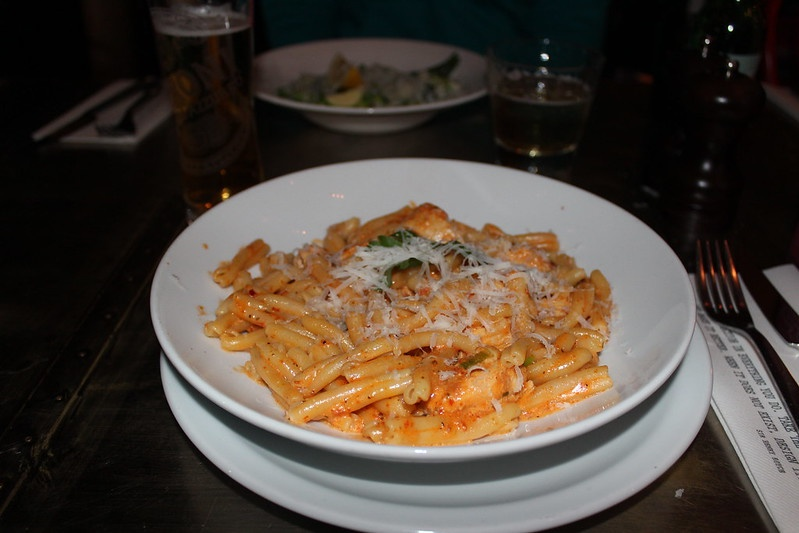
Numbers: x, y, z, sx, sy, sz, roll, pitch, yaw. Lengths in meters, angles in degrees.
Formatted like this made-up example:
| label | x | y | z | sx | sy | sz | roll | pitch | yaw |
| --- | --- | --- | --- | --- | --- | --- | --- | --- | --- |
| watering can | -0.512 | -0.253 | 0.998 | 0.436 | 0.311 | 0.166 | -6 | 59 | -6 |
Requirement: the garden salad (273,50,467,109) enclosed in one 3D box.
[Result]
| label | x | y | z | sx | sy | sz | roll | pitch | yaw |
| --- | --- | --- | --- | --- | --- | --- | --- | --- | --- |
| garden salad | -0.159 | -0.948 | 3.185 | 0.991 | 0.145 | 0.563 | -3 | 41 | -1 |
